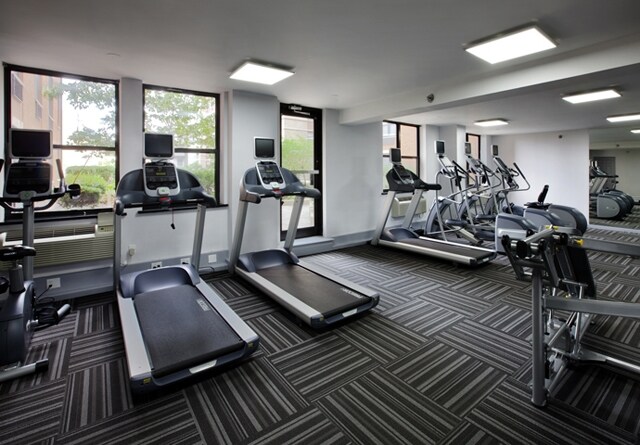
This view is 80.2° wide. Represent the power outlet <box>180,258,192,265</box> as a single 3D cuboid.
[{"bbox_3d":[-2.093,0.592,5.863,0.128,0.117,0.041,1,-3,-34],"label":"power outlet"}]

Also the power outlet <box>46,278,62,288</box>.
[{"bbox_3d":[-3.570,0.786,5.035,0.154,0.152,0.015,0,4,-42],"label":"power outlet"}]

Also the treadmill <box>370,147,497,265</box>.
[{"bbox_3d":[2.156,-0.364,7.116,1.013,1.983,2.174,-4,11,-42],"label":"treadmill"}]

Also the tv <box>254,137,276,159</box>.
[{"bbox_3d":[-0.878,-1.133,5.916,0.382,0.377,0.052,-1,2,-29],"label":"tv"}]

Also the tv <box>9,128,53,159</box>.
[{"bbox_3d":[-3.371,-0.888,4.343,0.226,0.356,0.434,23,19,34],"label":"tv"}]

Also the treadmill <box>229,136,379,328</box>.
[{"bbox_3d":[-0.329,-0.053,5.267,1.139,2.161,2.467,-7,13,-34],"label":"treadmill"}]

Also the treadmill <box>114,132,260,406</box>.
[{"bbox_3d":[-1.696,0.195,4.356,1.215,2.454,2.134,-4,11,-30],"label":"treadmill"}]

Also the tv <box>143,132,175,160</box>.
[{"bbox_3d":[-2.154,-0.999,5.031,0.400,0.394,0.213,-1,2,-35],"label":"tv"}]

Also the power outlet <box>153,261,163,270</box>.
[{"bbox_3d":[-2.486,0.638,5.777,0.127,0.169,0.050,13,-11,-40],"label":"power outlet"}]

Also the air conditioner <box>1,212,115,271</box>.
[{"bbox_3d":[-3.483,0.229,5.058,1.235,0.673,0.259,-4,11,-31],"label":"air conditioner"}]
